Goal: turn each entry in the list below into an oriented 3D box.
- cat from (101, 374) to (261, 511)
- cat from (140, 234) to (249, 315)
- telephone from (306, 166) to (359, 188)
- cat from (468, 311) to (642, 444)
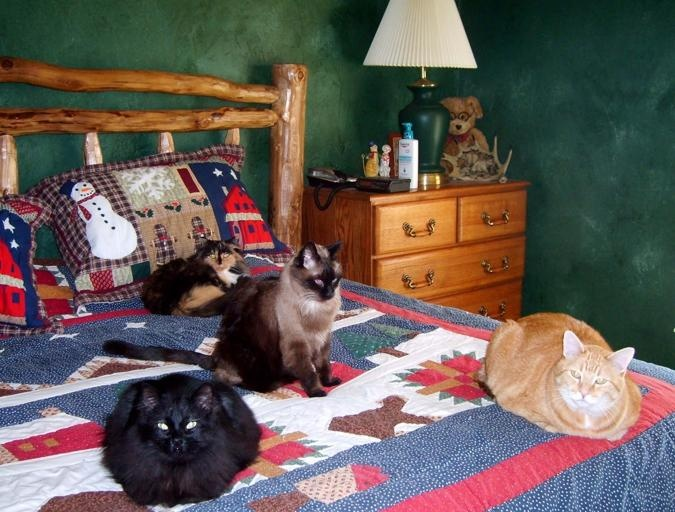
[{"bbox_3d":[-0.314,0.337,1.188,0.292,0.148,0.252,1,26,-7],"label":"cat"},{"bbox_3d":[-0.478,0.068,2.092,0.251,0.146,0.339,20,41,23],"label":"cat"},{"bbox_3d":[-0.021,-0.412,3.019,0.206,0.060,0.135,9,13,40],"label":"telephone"},{"bbox_3d":[0.504,0.279,1.434,0.253,0.157,0.334,-9,20,-6],"label":"cat"}]
